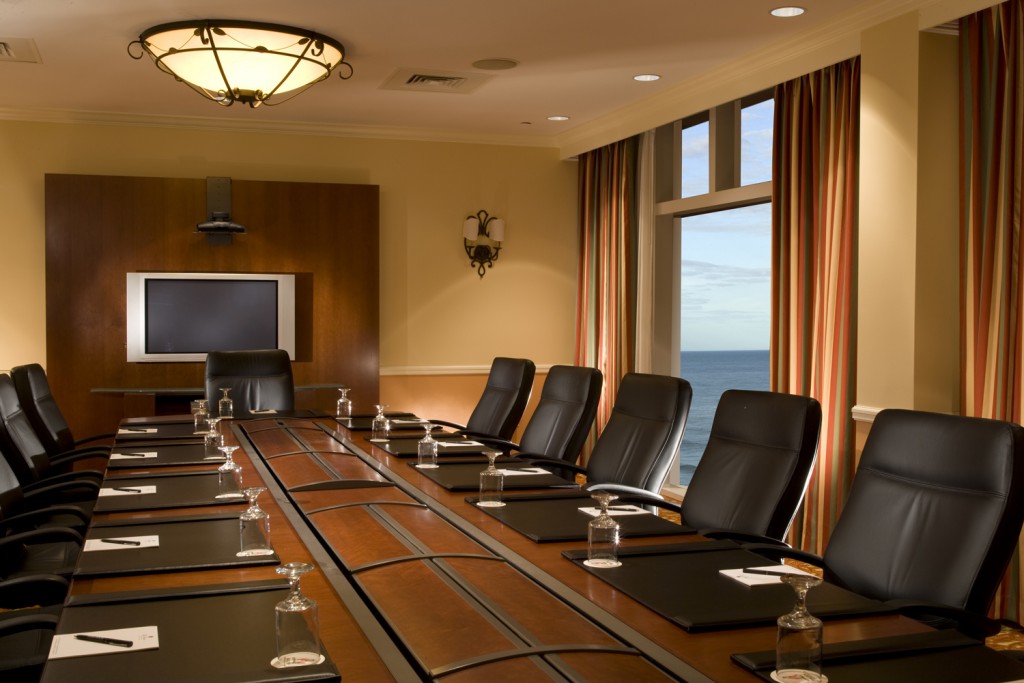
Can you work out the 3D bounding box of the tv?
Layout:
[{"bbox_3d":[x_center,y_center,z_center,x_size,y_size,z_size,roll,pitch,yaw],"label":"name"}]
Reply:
[{"bbox_3d":[-2.968,-0.232,7.218,1.563,0.868,0.162,-1,5,-37],"label":"tv"}]

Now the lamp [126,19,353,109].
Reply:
[{"bbox_3d":[-2.005,-1.983,5.346,1.524,0.415,1.589,-6,12,-22],"label":"lamp"}]

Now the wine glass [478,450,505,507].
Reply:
[{"bbox_3d":[-0.084,0.572,2.974,0.140,0.209,0.136,1,-4,22],"label":"wine glass"}]

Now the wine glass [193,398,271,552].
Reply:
[{"bbox_3d":[-1.294,0.614,3.337,0.214,0.667,0.219,-12,1,40],"label":"wine glass"}]

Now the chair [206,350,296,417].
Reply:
[{"bbox_3d":[-2.112,0.354,5.989,0.510,0.758,0.627,1,-2,-23],"label":"chair"}]

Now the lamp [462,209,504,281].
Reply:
[{"bbox_3d":[-0.322,-1.067,7.912,0.443,0.740,0.226,1,5,0],"label":"lamp"}]
